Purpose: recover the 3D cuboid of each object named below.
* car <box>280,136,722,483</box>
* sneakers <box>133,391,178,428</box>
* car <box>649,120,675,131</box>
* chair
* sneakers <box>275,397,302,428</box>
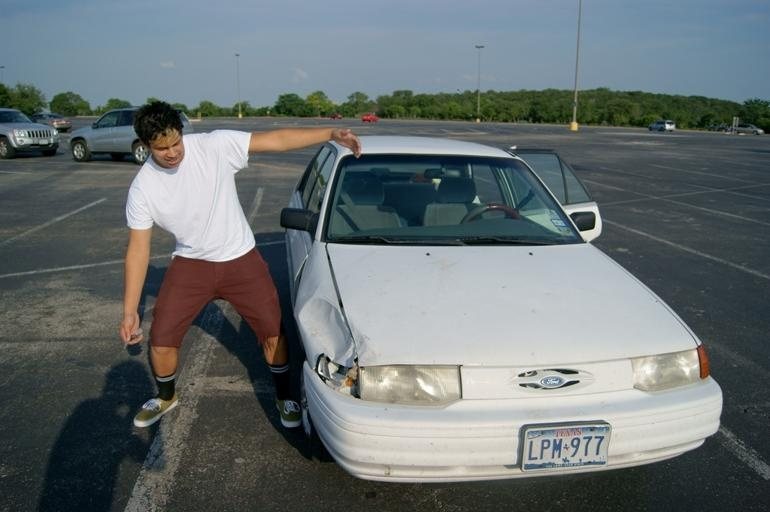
[{"bbox_3d":[0.528,0.225,3.303,2.301,1.685,2.218,-8,18,-18],"label":"car"},{"bbox_3d":[-1.685,1.141,3.652,0.128,0.123,0.352,35,29,22],"label":"sneakers"},{"bbox_3d":[28.523,-13.402,50.085,1.396,1.035,2.865,-3,23,-7],"label":"car"},{"bbox_3d":[0.078,-0.444,3.939,0.661,0.418,0.973,-3,15,-11],"label":"chair"},{"bbox_3d":[-0.699,1.142,3.535,0.118,0.096,0.250,-6,12,-29],"label":"sneakers"}]
